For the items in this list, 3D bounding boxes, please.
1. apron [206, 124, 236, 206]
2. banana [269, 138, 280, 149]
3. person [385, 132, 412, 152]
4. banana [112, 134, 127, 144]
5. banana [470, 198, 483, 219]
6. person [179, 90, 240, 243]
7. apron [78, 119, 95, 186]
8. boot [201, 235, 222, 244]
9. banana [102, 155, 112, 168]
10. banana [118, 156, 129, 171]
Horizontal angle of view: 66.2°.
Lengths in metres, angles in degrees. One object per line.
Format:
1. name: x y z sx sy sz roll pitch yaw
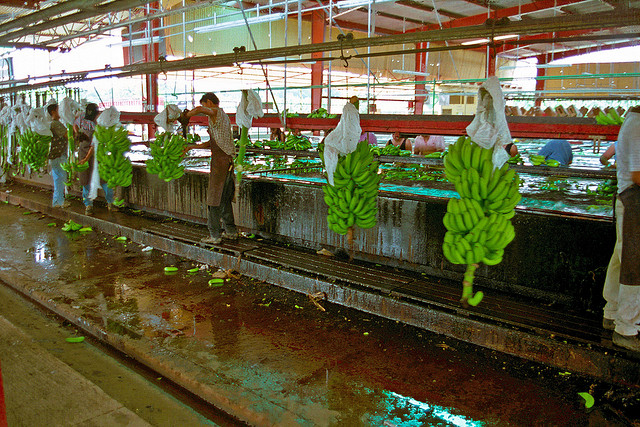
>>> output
1. apron: -1.577 -0.722 7.690 0.497 1.217 0.507 4 9 11
2. banana: -1.037 -1.649 11.484 0.202 0.100 0.317 6 16 2
3. person: 1.907 -1.737 11.722 0.503 0.426 1.942 0 11 8
4. banana: -3.803 -1.411 9.237 0.263 0.066 0.046 -36 23 -9
5. banana: 1.736 -0.060 5.392 0.058 0.233 0.069 -30 -15 21
6. person: -1.748 -0.772 7.963 0.809 2.336 1.140 -3 11 -10
7. apron: -4.640 -1.202 9.666 0.353 1.293 0.283 -3 11 -7
8. boot: -1.694 0.413 7.663 0.293 0.126 0.112 7 -21 5
9. banana: -4.031 -1.007 9.276 0.107 0.204 0.072 -12 15 -4
10. banana: -3.801 -0.965 9.443 0.295 0.052 0.101 -52 34 -17
